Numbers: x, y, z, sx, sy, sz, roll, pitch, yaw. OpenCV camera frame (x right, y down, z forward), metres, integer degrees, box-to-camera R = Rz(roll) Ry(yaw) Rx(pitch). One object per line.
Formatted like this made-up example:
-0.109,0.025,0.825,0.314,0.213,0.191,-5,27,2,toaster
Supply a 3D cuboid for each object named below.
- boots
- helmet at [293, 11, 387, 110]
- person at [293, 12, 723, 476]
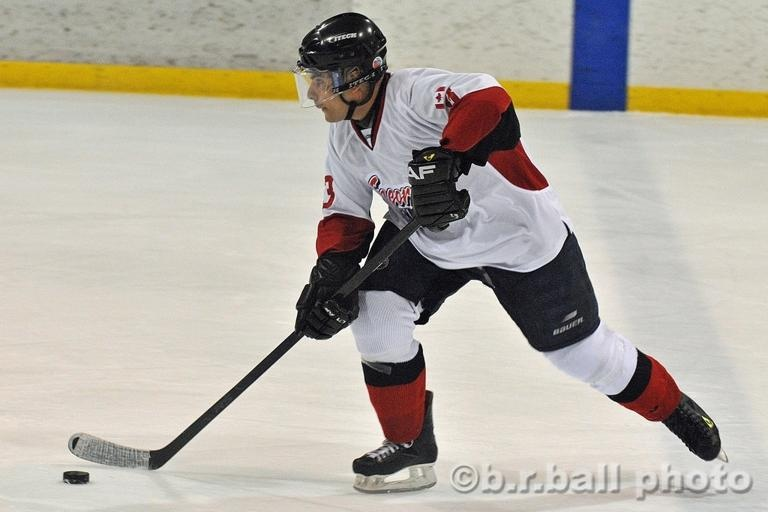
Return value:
0.022,0.726,4.064,0.435,0.274,0.150,-3,-4,-43,boots
-0.165,-0.775,4.128,0.418,0.308,0.274,-13,28,-5,helmet
0.349,-0.012,3.990,1.597,1.750,0.541,6,17,6,person
